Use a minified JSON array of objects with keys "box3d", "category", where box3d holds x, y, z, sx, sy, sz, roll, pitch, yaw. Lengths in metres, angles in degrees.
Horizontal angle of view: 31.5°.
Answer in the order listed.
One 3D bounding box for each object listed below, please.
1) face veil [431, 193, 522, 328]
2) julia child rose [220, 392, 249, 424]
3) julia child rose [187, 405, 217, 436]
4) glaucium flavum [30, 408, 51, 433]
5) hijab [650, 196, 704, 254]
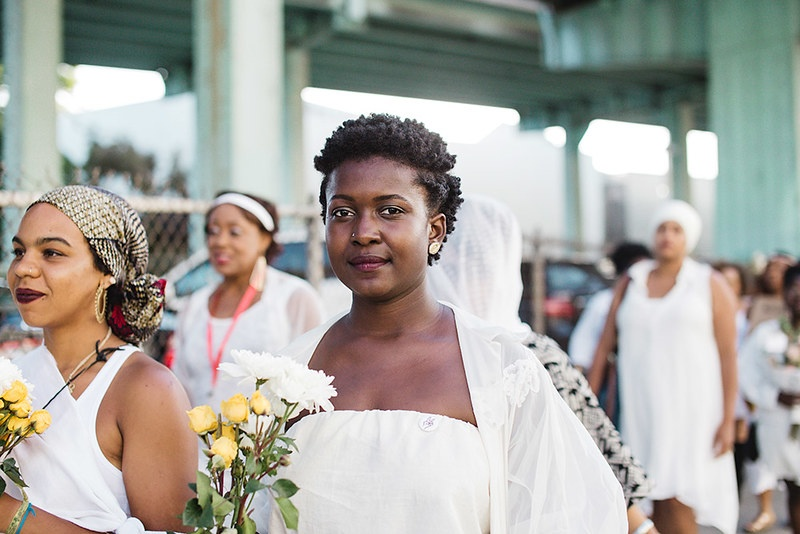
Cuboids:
[{"box3d":[0.742,-0.035,13.993,0.802,1.594,1.108,4,1,-28],"category":"face veil"},{"box3d":[-1.479,1.266,13.017,0.237,0.264,0.257,-19,10,14],"category":"julia child rose"},{"box3d":[-1.831,1.413,13.043,0.240,0.258,0.263,-32,-17,-22],"category":"julia child rose"},{"box3d":[-3.361,1.411,13.159,0.155,0.204,0.203,14,1,33],"category":"glaucium flavum"},{"box3d":[3.189,-0.572,16.194,0.458,0.536,0.639,6,-35,24],"category":"hijab"}]
